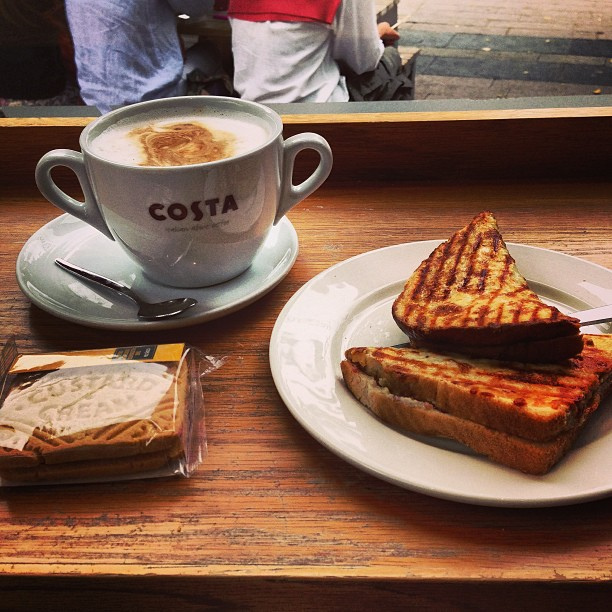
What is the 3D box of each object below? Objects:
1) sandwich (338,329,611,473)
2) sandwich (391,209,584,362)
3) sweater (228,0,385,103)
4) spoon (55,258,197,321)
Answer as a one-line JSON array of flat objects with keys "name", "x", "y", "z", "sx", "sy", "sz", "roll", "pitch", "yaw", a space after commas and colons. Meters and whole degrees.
[{"name": "sandwich", "x": 0.208, "y": 0.073, "z": 0.748, "sx": 0.254, "sy": 0.057, "sz": 0.249, "roll": 24, "pitch": 38, "yaw": 34}, {"name": "sandwich", "x": 0.228, "y": -0.019, "z": 0.822, "sx": 0.197, "sy": 0.037, "sz": 0.189, "roll": -28, "pitch": 32, "yaw": -26}, {"name": "sweater", "x": -0.005, "y": -0.890, "z": 2.323, "sx": 0.551, "sy": 0.329, "sz": 0.399, "roll": 2, "pitch": 34, "yaw": 2}, {"name": "spoon", "x": -0.281, "y": -0.012, "z": 0.914, "sx": 0.277, "sy": 0.029, "sz": 0.061, "roll": 19, "pitch": 26, "yaw": 24}]
